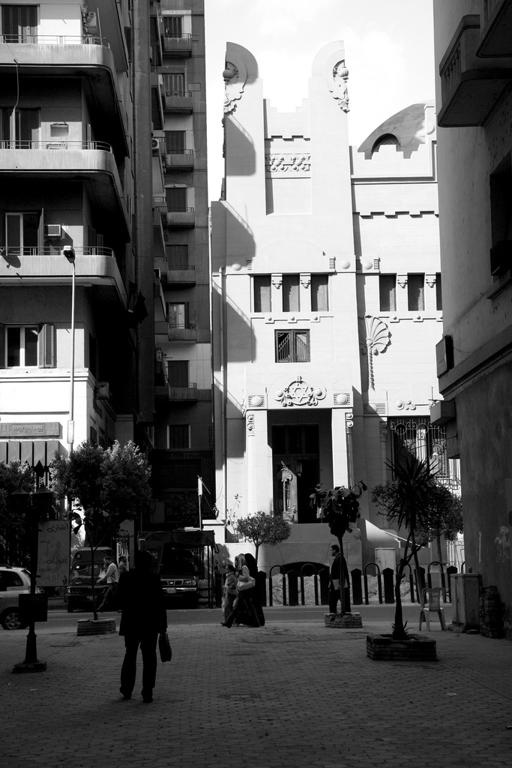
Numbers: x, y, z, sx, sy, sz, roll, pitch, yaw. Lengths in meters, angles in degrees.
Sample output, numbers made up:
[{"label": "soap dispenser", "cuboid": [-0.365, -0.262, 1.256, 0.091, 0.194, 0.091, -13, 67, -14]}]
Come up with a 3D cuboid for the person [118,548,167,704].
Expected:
[{"label": "person", "cuboid": [-1.141, 2.389, 9.563, 0.450, 1.444, 0.588, 1, -10, -9]}]

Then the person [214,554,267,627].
[{"label": "person", "cuboid": [-0.261, 4.524, 21.154, 0.787, 1.583, 1.537, -1, -11, 5]}]

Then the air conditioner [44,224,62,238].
[{"label": "air conditioner", "cuboid": [-7.744, -5.750, 36.761, 0.709, 0.635, 0.444, -1, -14, 2]}]

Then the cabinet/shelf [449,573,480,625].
[{"label": "cabinet/shelf", "cuboid": [4.123, 4.218, 18.960, 0.363, 1.164, 1.095, 0, -11, 2]}]
